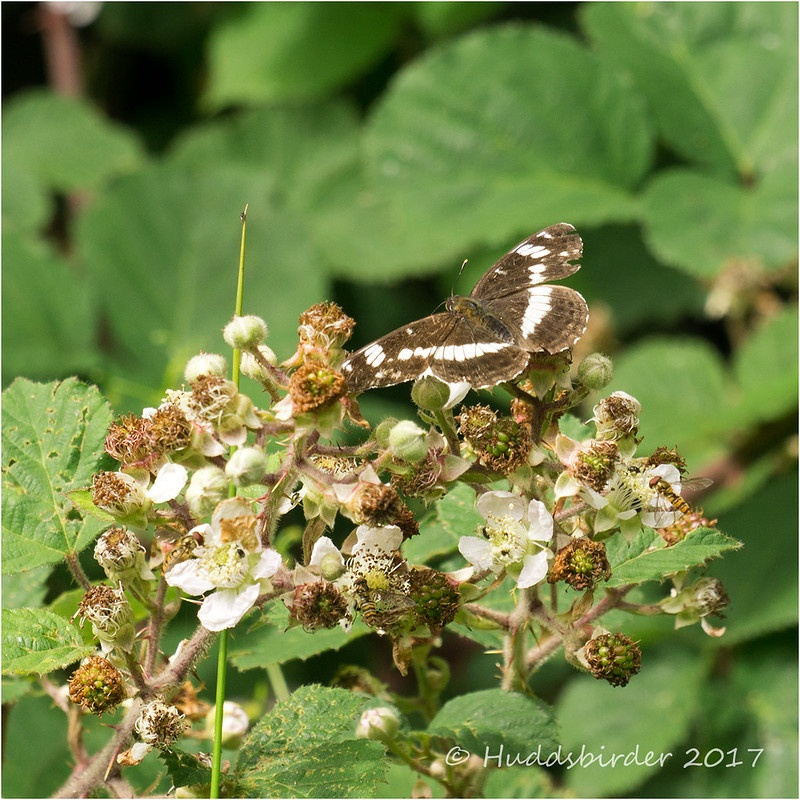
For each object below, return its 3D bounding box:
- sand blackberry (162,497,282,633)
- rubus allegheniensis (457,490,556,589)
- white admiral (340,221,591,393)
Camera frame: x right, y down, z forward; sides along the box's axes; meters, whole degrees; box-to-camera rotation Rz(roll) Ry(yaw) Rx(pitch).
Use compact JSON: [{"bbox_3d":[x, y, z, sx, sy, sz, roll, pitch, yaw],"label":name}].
[{"bbox_3d":[-0.325,0.313,1.959,0.216,0.092,0.213,-17,57,13],"label":"sand blackberry"},{"bbox_3d":[0.214,0.261,2.038,0.166,0.190,0.085,-8,-5,13],"label":"rubus allegheniensis"},{"bbox_3d":[0.171,-0.244,2.736,0.604,0.311,0.321,0,63,-22],"label":"white admiral"}]
